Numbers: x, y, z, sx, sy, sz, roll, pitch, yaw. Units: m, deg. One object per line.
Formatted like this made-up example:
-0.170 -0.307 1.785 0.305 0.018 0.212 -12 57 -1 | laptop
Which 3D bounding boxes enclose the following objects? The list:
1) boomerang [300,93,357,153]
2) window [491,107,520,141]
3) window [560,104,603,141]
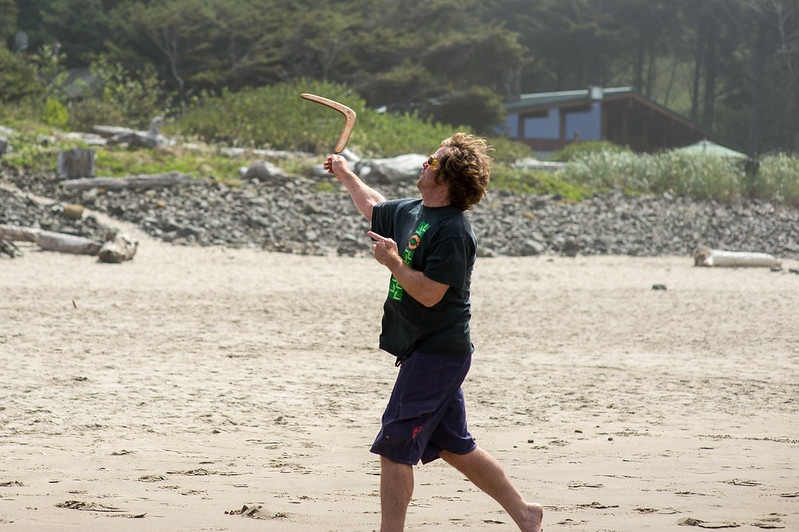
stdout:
-1.385 -2.525 34.595 1.075 0.154 1.324 21 45 -7 | boomerang
2.731 -3.515 47.007 0.573 0.797 0.825 -6 7 -40 | window
4.337 -3.417 45.289 0.889 0.824 0.457 -1 -6 31 | window
